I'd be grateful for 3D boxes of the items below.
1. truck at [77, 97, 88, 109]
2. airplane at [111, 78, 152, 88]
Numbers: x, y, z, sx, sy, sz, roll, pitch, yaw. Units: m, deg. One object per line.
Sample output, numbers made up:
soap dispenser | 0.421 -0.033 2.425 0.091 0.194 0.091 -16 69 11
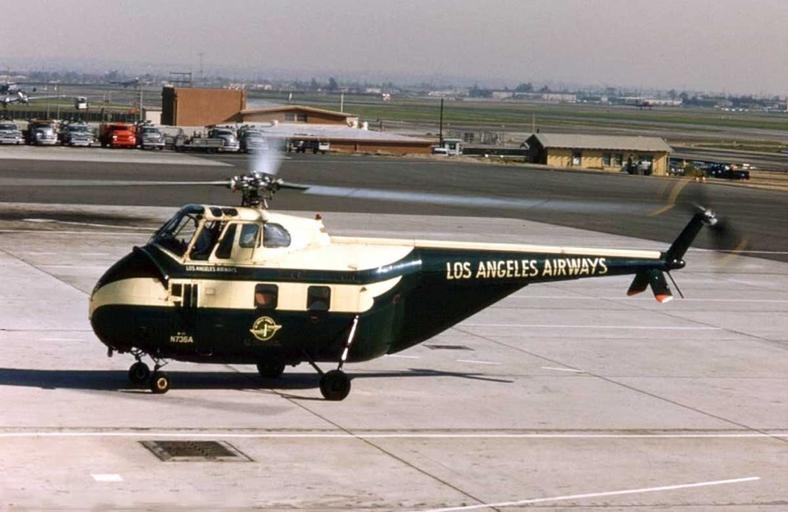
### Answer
truck | -39.830 -19.515 203.442 1.222 1.280 30.126 3 6 -11
airplane | -82.357 -55.196 501.871 6.442 2.585 119.796 3 6 -8
